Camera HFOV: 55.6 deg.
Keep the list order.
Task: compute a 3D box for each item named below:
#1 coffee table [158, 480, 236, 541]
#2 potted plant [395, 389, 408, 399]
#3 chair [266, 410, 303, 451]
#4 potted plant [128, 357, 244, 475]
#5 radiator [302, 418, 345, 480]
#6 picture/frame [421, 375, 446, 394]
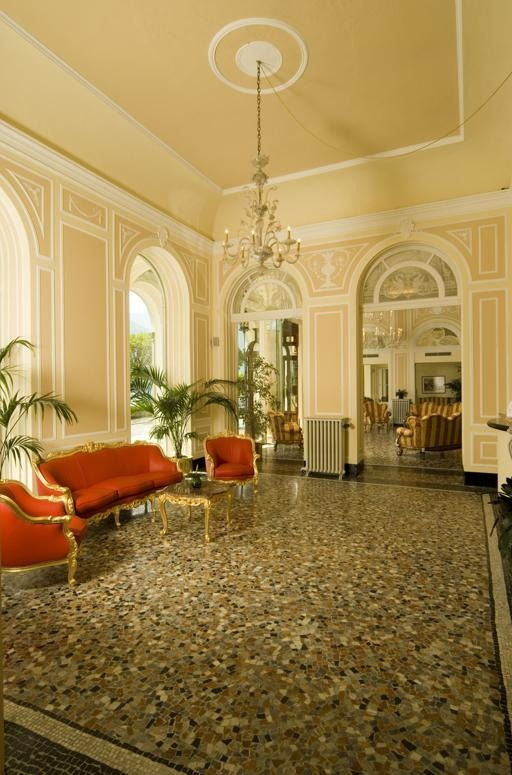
[{"bbox_3d":[-0.549,1.121,4.307,0.492,0.398,0.511,4,6,31],"label":"coffee table"},{"bbox_3d":[4.240,0.201,14.292,0.342,0.286,0.225,-1,1,14],"label":"potted plant"},{"bbox_3d":[0.501,0.792,8.788,0.593,0.770,0.605,-1,1,-1],"label":"chair"},{"bbox_3d":[-1.013,0.362,6.392,1.306,1.007,1.266,4,-4,-45],"label":"potted plant"},{"bbox_3d":[0.939,0.858,6.670,0.716,0.888,0.419,2,3,29],"label":"radiator"},{"bbox_3d":[5.649,-0.068,15.478,0.548,0.493,0.038,0,-4,24],"label":"picture/frame"}]
